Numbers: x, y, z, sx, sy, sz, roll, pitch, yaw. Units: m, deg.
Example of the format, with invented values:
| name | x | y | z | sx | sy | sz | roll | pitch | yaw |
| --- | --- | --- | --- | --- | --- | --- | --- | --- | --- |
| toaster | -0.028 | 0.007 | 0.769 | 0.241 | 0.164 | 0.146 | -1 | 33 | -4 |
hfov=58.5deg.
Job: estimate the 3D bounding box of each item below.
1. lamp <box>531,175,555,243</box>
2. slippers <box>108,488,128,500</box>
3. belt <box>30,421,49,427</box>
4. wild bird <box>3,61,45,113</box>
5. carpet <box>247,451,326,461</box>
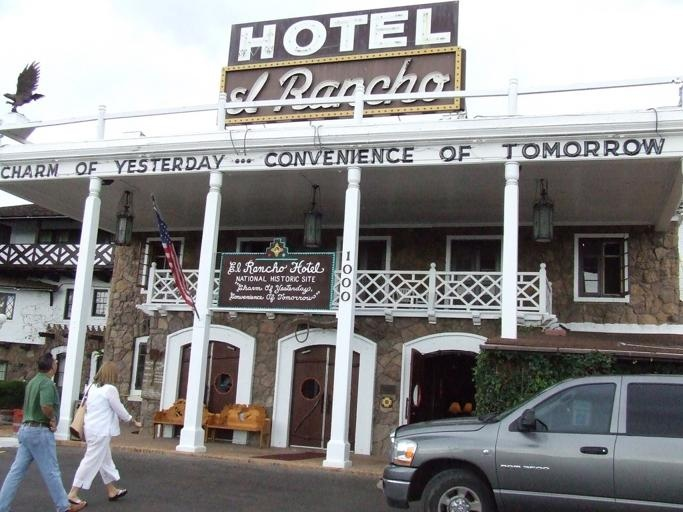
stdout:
| name | x | y | z | sx | sy | sz | roll | pitch | yaw |
| --- | --- | --- | --- | --- | --- | --- | --- | --- | --- |
| lamp | 4.808 | -1.102 | 14.539 | 0.522 | 1.524 | 0.486 | -1 | -16 | 20 |
| slippers | -3.455 | 3.692 | 9.483 | 0.117 | 0.130 | 0.322 | 6 | 7 | 32 |
| belt | -4.200 | 2.343 | 8.477 | 0.239 | 0.056 | 0.054 | 9 | -13 | -29 |
| wild bird | -8.964 | -4.777 | 17.313 | 0.747 | 1.371 | 0.960 | 12 | -15 | -39 |
| carpet | -1.215 | 4.746 | 14.434 | 1.241 | 0.048 | 2.294 | -3 | -13 | 24 |
